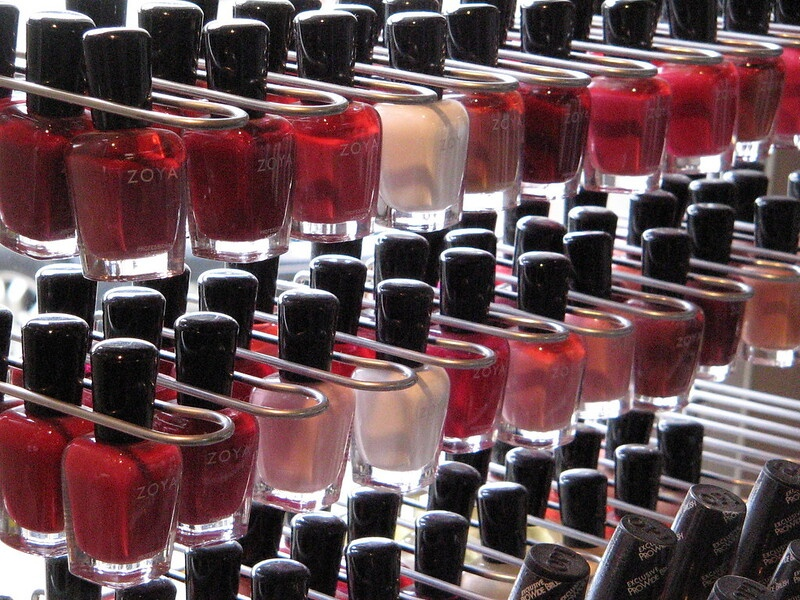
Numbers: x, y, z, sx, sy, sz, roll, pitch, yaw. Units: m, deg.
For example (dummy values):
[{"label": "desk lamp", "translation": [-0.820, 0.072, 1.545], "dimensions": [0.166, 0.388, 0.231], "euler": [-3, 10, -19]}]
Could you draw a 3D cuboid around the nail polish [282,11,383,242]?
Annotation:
[{"label": "nail polish", "translation": [-0.045, -0.127, 0.676], "dimensions": [0.065, 0.156, 0.079], "euler": [2, -10, -3]}]

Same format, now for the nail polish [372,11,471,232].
[{"label": "nail polish", "translation": [0.016, -0.149, 0.733], "dimensions": [0.087, 0.093, 0.171], "euler": [-1, -56, 5]}]
